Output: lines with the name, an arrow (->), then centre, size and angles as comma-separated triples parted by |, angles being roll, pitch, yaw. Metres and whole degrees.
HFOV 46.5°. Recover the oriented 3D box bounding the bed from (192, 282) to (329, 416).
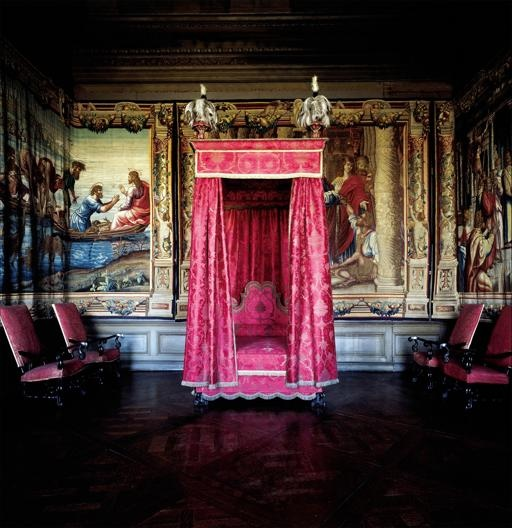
bed -> 0.075, 0.889, 6.543 | 1.180, 1.088, 1.221 | 0, 0, -1
